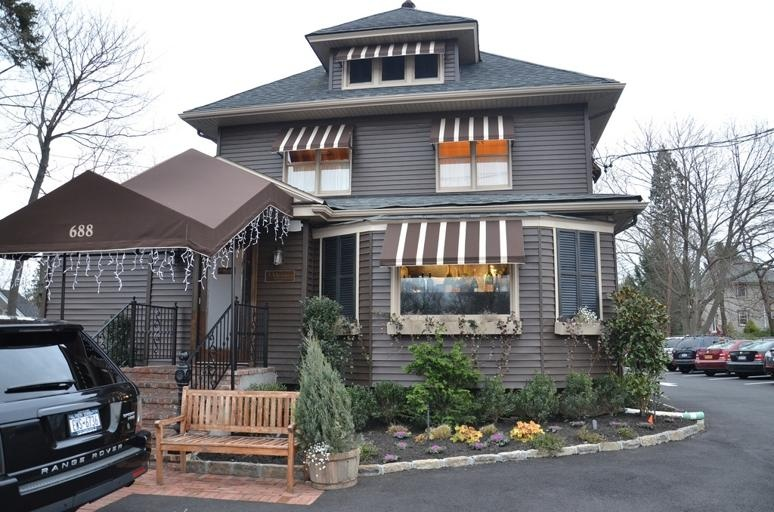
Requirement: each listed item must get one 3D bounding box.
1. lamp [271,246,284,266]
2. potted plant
[{"bbox_3d":[-3.376,0.014,19.760,0.351,0.561,0.333,-1,7,-10],"label":"lamp"},{"bbox_3d":[-1.348,3.545,14.251,1.424,3.042,0.846,1,7,1],"label":"potted plant"}]
